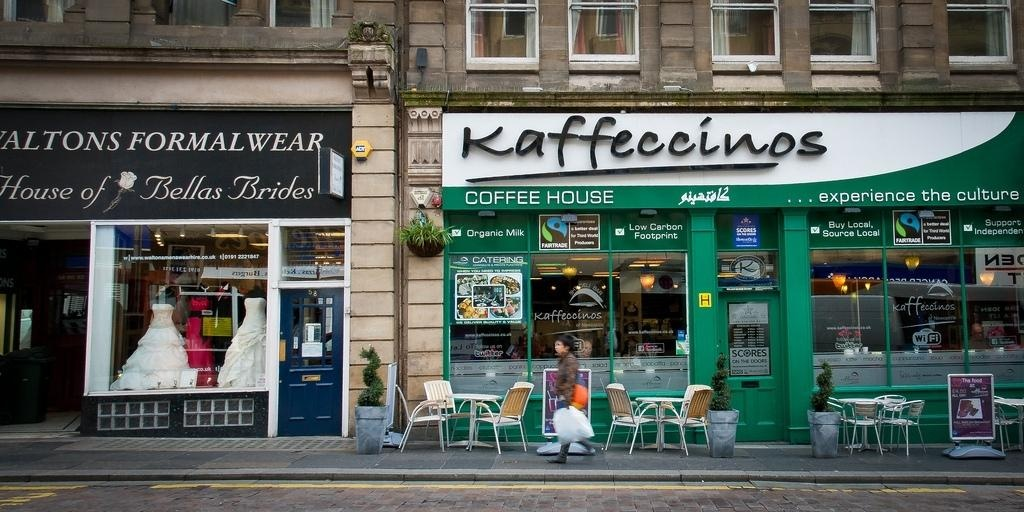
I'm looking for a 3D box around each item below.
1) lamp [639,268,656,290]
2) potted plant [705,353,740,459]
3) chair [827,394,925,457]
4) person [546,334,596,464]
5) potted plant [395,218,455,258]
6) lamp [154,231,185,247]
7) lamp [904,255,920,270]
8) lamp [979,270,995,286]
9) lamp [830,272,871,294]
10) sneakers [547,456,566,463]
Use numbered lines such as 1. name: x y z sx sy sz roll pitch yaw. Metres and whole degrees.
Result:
1. lamp: 4.351 0.773 34.551 0.609 0.766 0.546 2 -6 1
2. potted plant: 6.307 4.508 32.797 0.900 3.014 0.486 -2 -11 3
3. chair: 11.201 5.177 33.486 2.646 1.816 1.879 -3 -10 10
4. person: 1.821 4.214 32.373 1.140 3.756 1.472 -2 -11 3
5. potted plant: -2.507 -0.575 34.499 1.485 0.855 1.338 2 0 1
6. lamp: -10.637 -0.573 34.678 0.907 0.497 0.167 -1 -11 -3
7. lamp: 12.600 0.207 34.602 0.476 0.425 0.449 1 -6 22
8. lamp: 14.958 0.702 34.634 0.515 0.432 0.465 1 -3 6
9. lamp: 10.653 0.827 34.549 1.095 0.646 0.373 2 36 6
10. sneakers: 1.371 5.977 32.113 0.584 0.210 0.181 3 -8 11
